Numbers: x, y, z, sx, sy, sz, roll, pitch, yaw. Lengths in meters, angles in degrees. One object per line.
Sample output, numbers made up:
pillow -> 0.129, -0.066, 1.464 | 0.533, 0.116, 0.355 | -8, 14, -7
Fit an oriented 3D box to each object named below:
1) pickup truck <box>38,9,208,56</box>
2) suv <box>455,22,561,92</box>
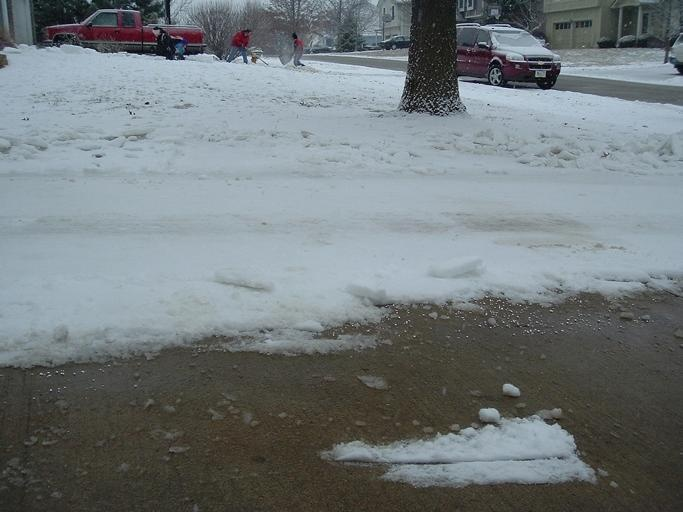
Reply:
pickup truck -> -8.678, -8.942, 22.831 | 5.769, 1.641, 2.484 | -6, 21, -22
suv -> 5.661, -6.910, 19.767 | 2.004, 2.053, 3.408 | -7, 22, -23
